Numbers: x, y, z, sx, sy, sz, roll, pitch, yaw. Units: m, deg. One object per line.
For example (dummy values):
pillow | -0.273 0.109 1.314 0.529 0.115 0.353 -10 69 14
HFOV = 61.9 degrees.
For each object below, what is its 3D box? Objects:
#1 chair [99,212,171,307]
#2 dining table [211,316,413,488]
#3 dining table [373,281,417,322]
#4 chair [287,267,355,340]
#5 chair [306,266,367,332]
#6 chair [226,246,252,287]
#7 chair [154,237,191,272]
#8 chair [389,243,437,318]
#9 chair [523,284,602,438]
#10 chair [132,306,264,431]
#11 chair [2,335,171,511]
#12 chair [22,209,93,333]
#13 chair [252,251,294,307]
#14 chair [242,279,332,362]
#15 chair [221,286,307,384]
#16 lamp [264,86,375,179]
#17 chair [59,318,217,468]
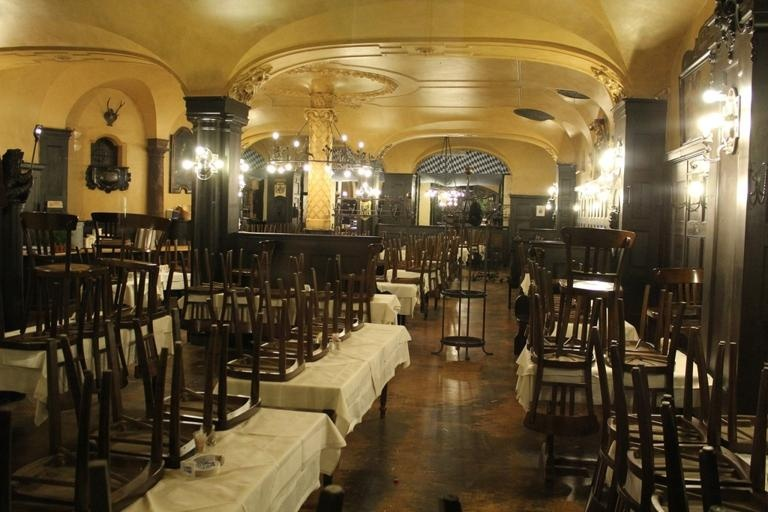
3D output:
chair | -2.413 0.117 6.064 0.723 0.935 0.791 0 -4 -7
dining table | -0.443 1.293 4.830 0.831 0.494 1.594 2 6 9
dining table | 0.210 0.658 9.149 0.476 0.262 0.490 3 3 22
chair | -0.576 0.451 5.625 0.638 0.333 0.648 1 5 13
chair | -0.581 0.427 6.166 0.343 0.552 0.317 4 1 -21
chair | -1.843 0.204 8.404 0.319 0.492 0.313 4 8 5
chair | -2.997 -0.007 9.061 0.606 0.437 0.417 1 -2 3
chair | 0.492 0.185 10.438 0.633 0.940 0.680 24 20 32
chair | 1.421 0.795 5.187 0.714 1.116 0.588 1 10 17
chair | -1.100 0.722 4.101 0.485 0.650 0.568 4 5 19
chair | -1.571 0.917 3.451 0.839 0.900 0.772 4 -1 10
chair | -3.123 0.198 5.778 0.513 1.076 0.537 -11 -4 23
chair | -0.969 0.281 5.647 0.293 0.474 0.261 3 12 -2
chair | -0.732 0.436 5.138 0.619 0.888 0.663 2 3 23
chair | -0.912 0.620 4.966 0.704 0.832 0.731 3 3 16
lamp | -1.228 -2.519 12.584 2.284 1.546 2.257 -4 14 -38
chair | -1.348 0.778 3.840 0.762 0.771 0.733 3 12 -39
